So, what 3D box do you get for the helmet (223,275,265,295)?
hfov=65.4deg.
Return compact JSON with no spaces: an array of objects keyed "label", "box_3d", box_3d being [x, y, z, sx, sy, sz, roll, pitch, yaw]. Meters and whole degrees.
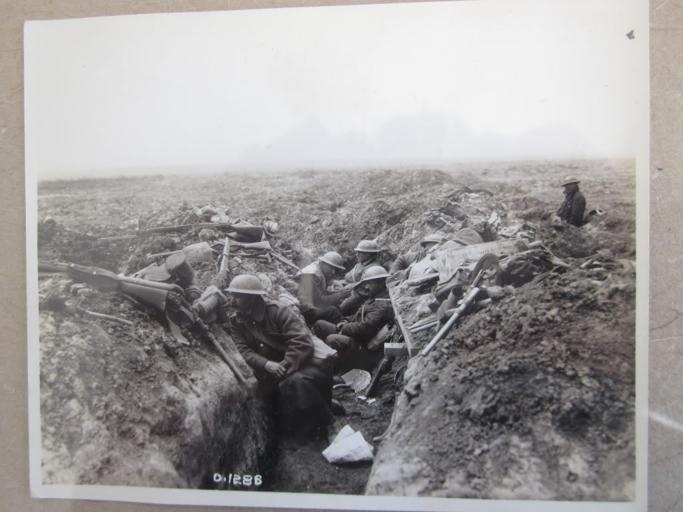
[{"label":"helmet","box_3d":[-1.084,0.330,6.067,0.316,0.149,0.247,8,-2,2]}]
